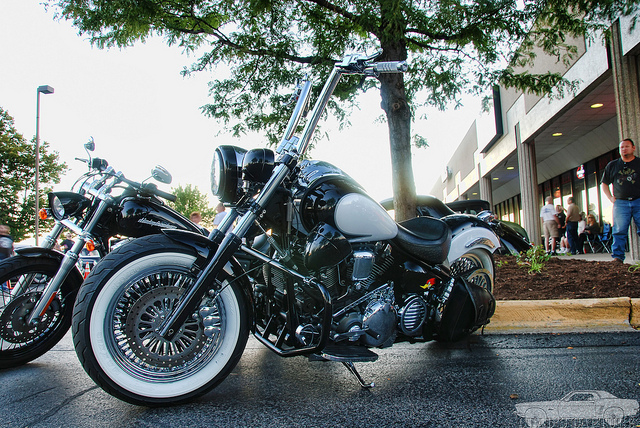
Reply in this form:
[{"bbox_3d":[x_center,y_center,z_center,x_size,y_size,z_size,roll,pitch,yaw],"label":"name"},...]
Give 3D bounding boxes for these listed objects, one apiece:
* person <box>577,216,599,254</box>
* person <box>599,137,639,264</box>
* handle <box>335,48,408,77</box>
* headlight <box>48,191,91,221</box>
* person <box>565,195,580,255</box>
[{"bbox_3d":[10.122,0.749,17.555,0.701,1.422,0.470,0,13,5],"label":"person"},{"bbox_3d":[5.316,-0.262,8.176,0.612,2.061,1.070,4,14,21],"label":"person"},{"bbox_3d":[0.458,-1.382,4.304,0.618,0.238,0.154,2,-1,22],"label":"handle"},{"bbox_3d":[-2.609,-0.082,4.870,0.337,0.314,0.277,-7,3,-39],"label":"headlight"},{"bbox_3d":[9.296,0.423,17.127,0.493,2.152,1.112,6,14,29],"label":"person"}]
